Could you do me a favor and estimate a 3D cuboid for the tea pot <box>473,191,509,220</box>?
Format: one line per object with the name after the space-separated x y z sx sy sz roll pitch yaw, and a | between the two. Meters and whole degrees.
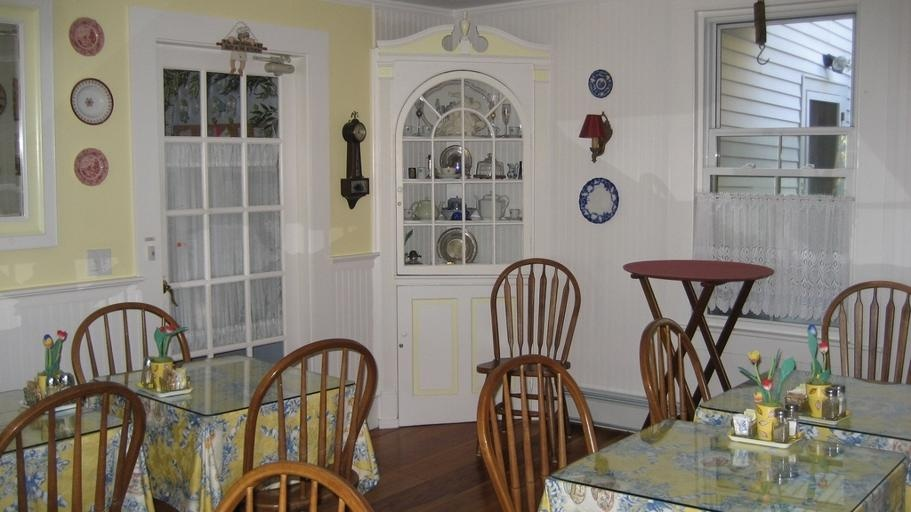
0.312 -0.421 5.542 0.297 0.238 0.183 2 6 6 | tea pot

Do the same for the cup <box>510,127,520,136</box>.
0.520 -1.087 5.521 0.079 0.077 0.079 0 9 0 | cup

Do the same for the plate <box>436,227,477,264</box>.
0.011 -0.091 5.614 0.325 0.326 0.084 8 2 -3 | plate

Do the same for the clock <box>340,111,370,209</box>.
-0.869 -0.816 5.399 0.234 0.828 0.151 -2 5 -19 | clock

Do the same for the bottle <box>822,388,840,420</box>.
1.867 0.727 3.131 0.088 0.156 0.041 1 4 15 | bottle

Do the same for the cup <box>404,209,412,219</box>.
-0.413 -0.365 5.523 0.074 0.102 0.074 -1 6 0 | cup

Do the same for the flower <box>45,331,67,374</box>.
-2.332 0.550 3.679 0.101 0.224 0.279 -3 5 -31 | flower

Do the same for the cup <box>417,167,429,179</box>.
-0.284 -0.721 5.509 0.117 0.118 0.070 5 8 -18 | cup

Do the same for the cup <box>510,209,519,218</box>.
0.526 -0.380 5.556 0.062 0.069 0.080 -1 -1 45 | cup

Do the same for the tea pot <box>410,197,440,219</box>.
-0.257 -0.412 5.460 0.208 0.153 0.162 -3 9 -7 | tea pot

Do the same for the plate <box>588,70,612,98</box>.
1.245 -1.473 5.416 0.215 0.215 0.056 23 15 26 | plate
